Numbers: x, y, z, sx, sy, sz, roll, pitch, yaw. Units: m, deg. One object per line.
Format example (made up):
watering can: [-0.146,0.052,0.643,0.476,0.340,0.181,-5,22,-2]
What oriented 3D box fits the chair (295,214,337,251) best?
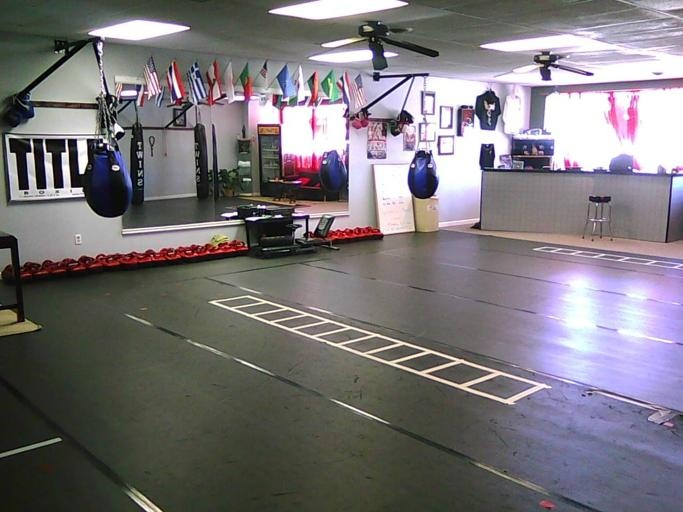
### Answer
chair: [-0.595,-0.468,9.681,0.792,0.719,0.821,6,6,-28]

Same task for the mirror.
mirror: [-2.531,-3.292,13.946,5.896,3.387,0.093,-7,16,-26]

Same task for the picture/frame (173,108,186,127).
picture/frame: [-4.193,-3.576,12.546,0.383,0.438,0.050,-4,11,-39]

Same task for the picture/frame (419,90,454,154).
picture/frame: [2.411,-3.276,12.124,1.258,1.558,0.246,-10,17,-37]

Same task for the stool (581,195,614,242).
stool: [5.909,-0.895,11.131,0.642,0.895,0.670,7,15,27]

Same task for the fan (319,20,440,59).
fan: [0.315,-2.844,6.394,1.701,0.401,1.841,-2,23,-2]

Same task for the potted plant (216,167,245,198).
potted plant: [-3.357,-2.205,14.761,0.816,0.547,0.814,-1,0,-4]

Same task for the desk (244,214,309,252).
desk: [-1.283,-0.409,9.233,1.052,0.645,0.889,-3,14,-14]

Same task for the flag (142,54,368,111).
flag: [-1.487,-3.302,9.196,4.241,1.151,0.456,-10,29,-27]
